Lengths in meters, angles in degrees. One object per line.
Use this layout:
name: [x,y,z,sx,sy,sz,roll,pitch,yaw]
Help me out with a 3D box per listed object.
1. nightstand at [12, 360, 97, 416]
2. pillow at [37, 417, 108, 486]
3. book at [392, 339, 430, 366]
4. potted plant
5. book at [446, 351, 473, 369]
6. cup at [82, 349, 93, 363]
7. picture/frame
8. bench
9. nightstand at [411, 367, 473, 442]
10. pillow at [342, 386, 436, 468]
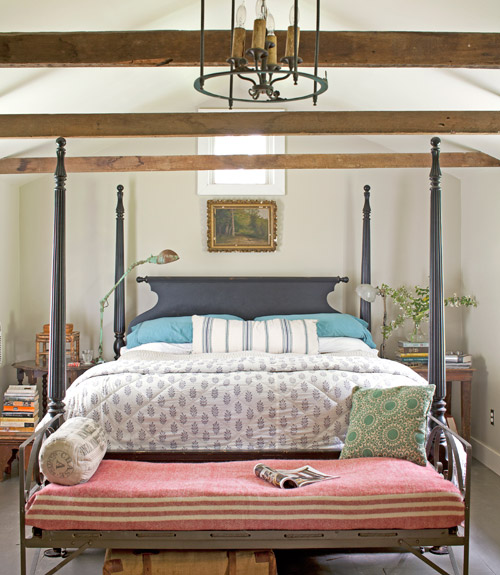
nightstand: [-1.463,0.683,4.687,0.543,0.502,0.523,-1,2,-37]
pillow: [-0.718,0.708,2.701,0.195,0.159,0.370,1,0,9]
book: [1.182,0.468,4.729,0.212,0.120,0.203,0,3,-4]
potted plant: [1.346,0.173,4.990,0.563,0.320,0.478,-1,4,-23]
book: [1.463,0.515,4.542,0.168,0.080,0.167,1,5,13]
cup: [-1.199,0.519,4.788,0.093,0.099,0.094,1,-5,0]
picture/frame: [-0.073,-0.486,5.090,0.445,0.303,0.024,1,2,-1]
bench: [-0.014,0.862,2.623,1.828,0.534,0.383,-1,5,-2]
nightstand: [1.341,0.785,4.569,0.446,0.408,0.317,6,-10,9]
pillow: [0.641,0.644,3.031,0.428,0.369,0.226,-9,-16,39]
